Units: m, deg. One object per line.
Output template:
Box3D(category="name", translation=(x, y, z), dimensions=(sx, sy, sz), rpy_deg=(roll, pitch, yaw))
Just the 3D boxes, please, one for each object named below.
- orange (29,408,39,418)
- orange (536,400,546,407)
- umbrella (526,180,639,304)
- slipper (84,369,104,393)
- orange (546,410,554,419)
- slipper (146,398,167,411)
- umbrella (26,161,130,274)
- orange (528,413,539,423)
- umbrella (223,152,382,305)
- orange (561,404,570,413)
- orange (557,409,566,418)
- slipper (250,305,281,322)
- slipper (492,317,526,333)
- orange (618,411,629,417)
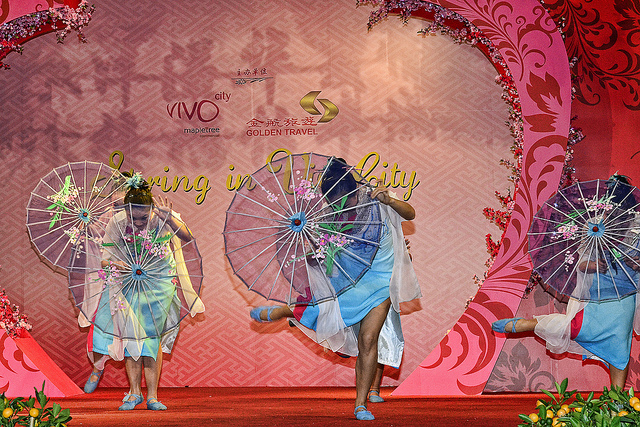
Box3D(category="orange", translation=(-2.302, 1.614, 7.702), dimensions=(0.062, 0.054, 0.059), rpy_deg=(-1, 3, 16))
Box3D(category="orange", translation=(1.781, 1.546, 7.747), dimensions=(0.067, 0.043, 0.060), rpy_deg=(-2, -5, 15))
Box3D(category="umbrella", translation=(2.457, 0.286, 8.842), dimensions=(1.174, 1.052, 0.780), rpy_deg=(-11, -3, 20))
Box3D(category="slipper", translation=(-2.324, 1.718, 9.817), dimensions=(0.086, 0.258, 0.066), rpy_deg=(24, -17, -12))
Box3D(category="orange", translation=(1.837, 1.611, 7.651), dimensions=(0.061, 0.060, 0.068), rpy_deg=(4, -5, 21))
Box3D(category="slipper", translation=(-1.516, 1.772, 8.860), dimensions=(0.158, 0.059, 0.081), rpy_deg=(12, -14, 9))
Box3D(category="umbrella", translation=(-2.289, -0.081, 9.295), dimensions=(0.957, 0.317, 0.962), rpy_deg=(9, -37, -42))
Box3D(category="orange", translation=(1.718, 1.652, 7.715), dimensions=(0.059, 0.052, 0.066), rpy_deg=(3, 22, 17))
Box3D(category="umbrella", translation=(-0.153, 0.130, 8.447), dimensions=(1.468, 1.302, 0.467), rpy_deg=(-11, -7, -19))
Box3D(category="orange", translation=(1.965, 1.569, 7.688), dimensions=(0.053, 0.057, 0.049), rpy_deg=(2, -36, 0))
Box3D(category="orange", translation=(1.927, 1.596, 7.619), dimensions=(0.054, 0.046, 0.049), rpy_deg=(-4, 24, 3))
Box3D(category="slipper", translation=(-0.517, 0.947, 9.039), dimensions=(0.275, 0.080, 0.142), rpy_deg=(-3, 2, -7))
Box3D(category="slipper", translation=(1.789, 1.083, 9.243), dimensions=(0.140, 0.153, 0.274), rpy_deg=(9, -6, -34))
Box3D(category="orange", translation=(2.383, 1.583, 7.532), dimensions=(0.073, 0.038, 0.111), rpy_deg=(4, -5, 15))
